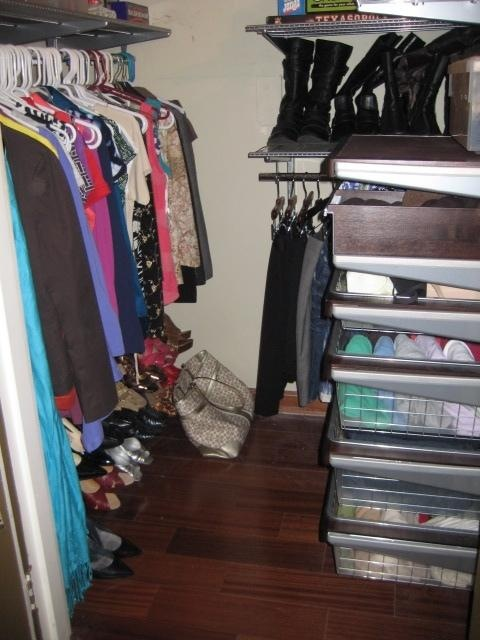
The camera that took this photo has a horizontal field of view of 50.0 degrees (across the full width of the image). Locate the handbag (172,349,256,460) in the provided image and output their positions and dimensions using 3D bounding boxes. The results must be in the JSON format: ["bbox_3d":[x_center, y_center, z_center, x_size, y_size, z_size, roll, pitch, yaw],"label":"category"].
[{"bbox_3d":[-0.110,0.343,2.101,0.308,0.302,0.365,2,24,6],"label":"handbag"}]

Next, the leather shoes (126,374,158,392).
[{"bbox_3d":[-0.420,0.275,2.225,0.116,0.052,0.061,-5,26,-12],"label":"leather shoes"}]

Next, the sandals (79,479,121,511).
[{"bbox_3d":[-0.459,0.582,1.708,0.171,0.035,0.073,26,13,26],"label":"sandals"}]

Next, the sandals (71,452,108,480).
[{"bbox_3d":[-0.473,0.459,1.645,0.130,0.047,0.072,10,21,1],"label":"sandals"}]

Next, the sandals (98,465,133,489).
[{"bbox_3d":[-0.427,0.546,1.812,0.126,0.051,0.064,4,16,6],"label":"sandals"}]

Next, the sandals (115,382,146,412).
[{"bbox_3d":[-0.454,0.311,2.162,0.114,0.140,0.145,-3,24,-5],"label":"sandals"}]

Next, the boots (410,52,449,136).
[{"bbox_3d":[0.558,-0.637,1.489,0.068,0.177,0.049,-2,26,7],"label":"boots"}]

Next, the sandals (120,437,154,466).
[{"bbox_3d":[-0.406,0.487,1.963,0.160,0.065,0.056,22,30,35],"label":"sandals"}]

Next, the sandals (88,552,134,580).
[{"bbox_3d":[-0.348,0.684,1.438,0.108,0.030,0.070,-1,23,-1],"label":"sandals"}]

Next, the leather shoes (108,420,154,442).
[{"bbox_3d":[-0.422,0.425,1.959,0.181,0.054,0.067,11,12,6],"label":"leather shoes"}]

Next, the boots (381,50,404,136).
[{"bbox_3d":[0.444,-0.707,1.498,0.043,0.186,0.037,-10,63,17],"label":"boots"}]

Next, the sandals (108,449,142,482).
[{"bbox_3d":[-0.415,0.521,1.839,0.122,0.048,0.048,50,33,1],"label":"sandals"}]
